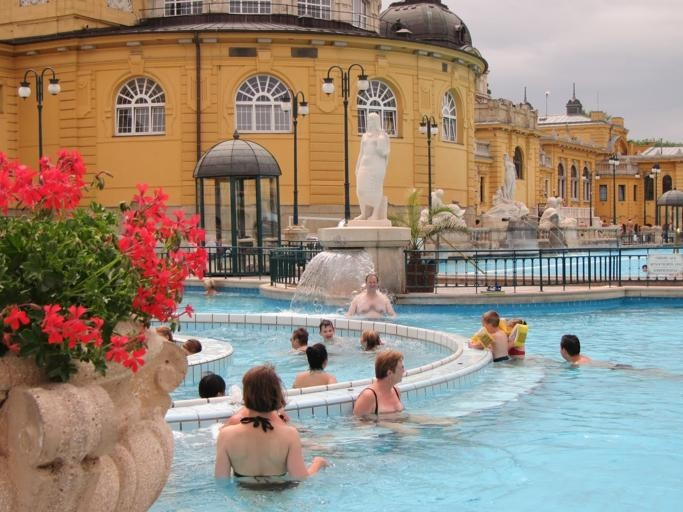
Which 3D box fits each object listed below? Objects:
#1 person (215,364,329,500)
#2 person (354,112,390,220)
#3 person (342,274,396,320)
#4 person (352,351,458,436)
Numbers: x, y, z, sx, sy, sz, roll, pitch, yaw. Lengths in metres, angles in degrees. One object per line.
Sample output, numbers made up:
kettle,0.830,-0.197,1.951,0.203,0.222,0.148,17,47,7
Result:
person,-0.674,1.399,8.088,0.732,1.010,0.311,0,5,-8
person,0.506,-1.797,19.566,0.587,2.138,0.557,1,5,2
person,0.402,0.675,16.996,0.532,0.783,0.775,5,6,40
person,0.585,1.319,9.990,0.966,0.776,0.677,2,8,32
